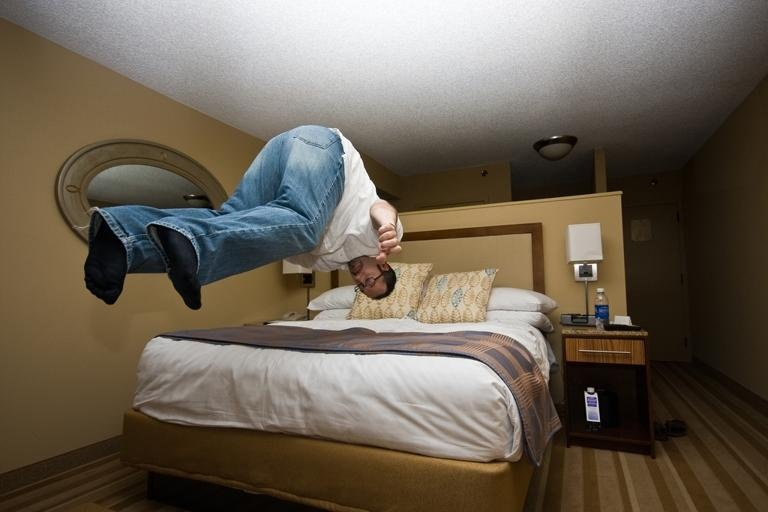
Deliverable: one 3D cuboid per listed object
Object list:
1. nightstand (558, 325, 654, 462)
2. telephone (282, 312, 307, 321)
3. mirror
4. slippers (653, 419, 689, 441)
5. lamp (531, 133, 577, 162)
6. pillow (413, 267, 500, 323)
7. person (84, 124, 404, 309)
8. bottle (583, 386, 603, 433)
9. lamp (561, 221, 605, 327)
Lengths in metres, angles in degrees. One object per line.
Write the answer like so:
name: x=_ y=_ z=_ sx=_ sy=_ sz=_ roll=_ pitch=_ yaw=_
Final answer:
nightstand: x=1.907 y=1.088 z=4.395 sx=0.705 sy=0.955 sz=0.660 roll=1 pitch=7 yaw=19
telephone: x=-1.023 y=0.696 z=5.828 sx=0.118 sy=0.068 sz=0.196 roll=1 pitch=-2 yaw=14
mirror: x=-2.015 y=-0.527 z=4.053 sx=0.065 sy=0.870 sz=1.167 roll=-7 pitch=-6 yaw=35
slippers: x=2.439 y=1.489 z=4.364 sx=0.172 sy=0.080 sz=0.217 roll=2 pitch=-6 yaw=-43
lamp: x=1.932 y=-1.256 z=5.798 sx=0.426 sy=0.274 sz=0.364 roll=0 pitch=7 yaw=14
pillow: x=0.770 y=0.312 z=5.029 sx=0.671 sy=0.217 sz=0.716 roll=3 pitch=34 yaw=-2
person: x=-0.744 y=-0.182 z=3.109 sx=1.361 sy=0.884 sz=1.518 roll=12 pitch=-2 yaw=45
bottle: x=1.769 y=1.283 z=4.308 sx=0.125 sy=0.361 sz=0.250 roll=1 pitch=7 yaw=25
lamp: x=1.918 y=0.149 z=4.911 sx=0.328 sy=0.920 sz=0.727 roll=1 pitch=7 yaw=21
